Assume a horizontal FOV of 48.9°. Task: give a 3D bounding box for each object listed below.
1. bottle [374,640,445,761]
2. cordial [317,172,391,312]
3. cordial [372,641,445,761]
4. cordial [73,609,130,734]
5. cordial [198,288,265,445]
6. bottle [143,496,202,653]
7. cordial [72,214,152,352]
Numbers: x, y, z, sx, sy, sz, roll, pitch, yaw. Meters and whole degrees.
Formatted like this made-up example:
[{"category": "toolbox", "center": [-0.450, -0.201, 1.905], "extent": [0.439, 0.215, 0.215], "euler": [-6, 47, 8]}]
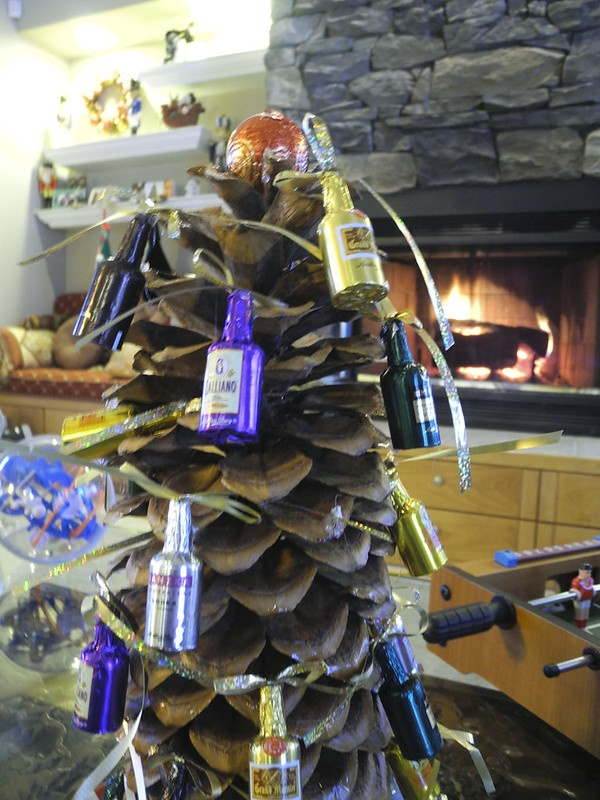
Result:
[{"category": "bottle", "center": [0.066, 0.189, 0.423], "extent": [0.031, 0.077, 0.024], "euler": [-16, -4, 7]}, {"category": "cordial", "center": [0.031, -0.090, 0.375], "extent": [0.038, 0.075, 0.056], "euler": [1, -4, 5]}, {"category": "cordial", "center": [0.066, 0.190, 0.422], "extent": [0.031, 0.077, 0.024], "euler": [-13, -6, -19]}, {"category": "cordial", "center": [-0.111, 0.151, 0.379], "extent": [0.030, 0.072, 0.025], "euler": [4, 2, -18]}, {"category": "cordial", "center": [-0.037, -0.018, 0.358], "extent": [0.034, 0.083, 0.025], "euler": [3, -4, -24]}, {"category": "bottle", "center": [-0.068, 0.097, 0.351], "extent": [0.027, 0.092, 0.051], "euler": [2, -4, -14]}, {"category": "cordial", "center": [-0.113, -0.069, 0.401], "extent": [0.043, 0.081, 0.071], "euler": [2, -4, -19]}]
